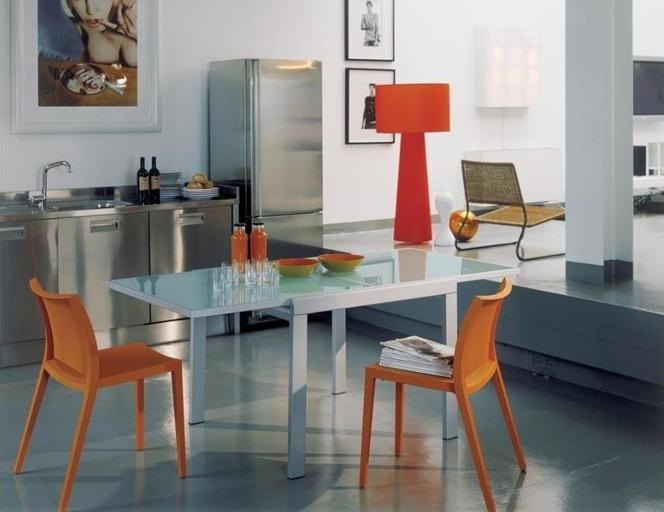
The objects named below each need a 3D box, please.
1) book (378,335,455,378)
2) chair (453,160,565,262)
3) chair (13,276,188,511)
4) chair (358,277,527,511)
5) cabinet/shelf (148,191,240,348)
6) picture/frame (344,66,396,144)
[{"bbox_3d":[0.419,0.475,2.861,0.214,0.072,0.216,7,4,25],"label":"book"},{"bbox_3d":[1.829,-0.491,6.011,0.911,0.905,0.836,-3,7,-23],"label":"chair"},{"bbox_3d":[-1.165,0.606,2.990,0.730,1.012,0.726,-8,12,-41],"label":"chair"},{"bbox_3d":[0.685,0.557,3.380,1.042,1.444,0.861,6,8,26],"label":"chair"},{"bbox_3d":[-1.220,0.232,5.584,0.991,1.525,1.017,5,-9,-3],"label":"cabinet/shelf"},{"bbox_3d":[0.436,-1.711,6.842,0.665,0.866,0.133,-7,11,-37],"label":"picture/frame"}]
